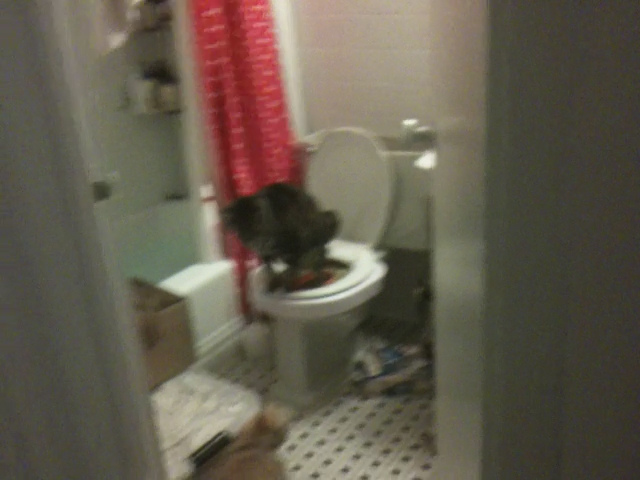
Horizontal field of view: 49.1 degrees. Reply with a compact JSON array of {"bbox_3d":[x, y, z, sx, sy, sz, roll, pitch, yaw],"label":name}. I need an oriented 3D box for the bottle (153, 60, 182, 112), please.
[{"bbox_3d":[-0.188,-0.191,0.869,0.029,0.060,0.013,-9,18,-12],"label":"bottle"}]

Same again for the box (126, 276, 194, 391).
[{"bbox_3d":[-0.202,0.115,0.904,0.064,0.120,0.117,15,12,20],"label":"box"}]
